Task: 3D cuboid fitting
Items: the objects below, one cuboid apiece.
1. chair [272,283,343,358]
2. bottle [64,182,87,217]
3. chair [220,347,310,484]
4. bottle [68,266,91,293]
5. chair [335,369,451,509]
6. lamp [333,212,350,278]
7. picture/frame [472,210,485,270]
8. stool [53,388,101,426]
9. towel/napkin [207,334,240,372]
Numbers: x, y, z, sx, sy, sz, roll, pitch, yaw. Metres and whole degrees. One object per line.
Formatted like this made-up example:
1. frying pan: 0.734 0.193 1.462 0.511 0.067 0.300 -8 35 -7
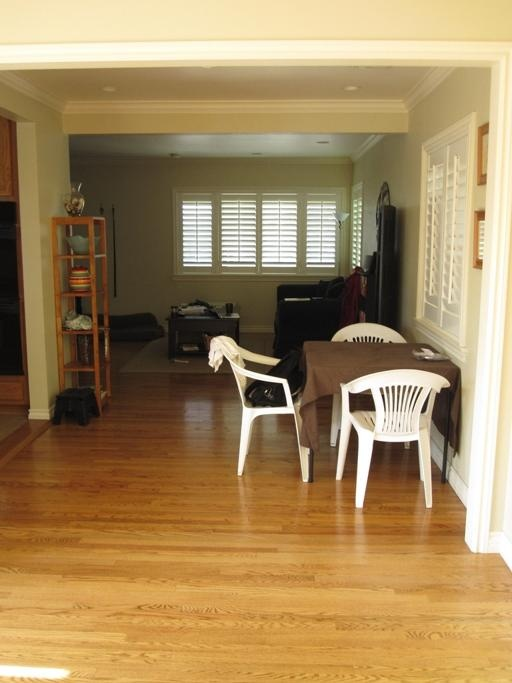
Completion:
1. chair: 0.591 -0.286 6.321 0.743 0.900 0.987 1 16 1
2. bottle: -1.446 -1.114 4.308 0.147 0.291 0.387 -2 8 -19
3. chair: 0.050 0.372 3.470 0.668 0.921 0.705 -1 9 1
4. bottle: -1.364 -0.478 4.201 0.194 0.185 0.193 1 9 2
5. chair: 0.680 0.454 2.780 0.502 0.722 0.499 1 8 6
6. lamp: 1.283 -1.460 8.153 0.200 0.940 0.179 6 10 38
7. picture/frame: 1.117 -0.537 2.755 0.019 0.263 0.231 3 15 24
8. stool: -1.396 0.486 4.225 0.292 0.223 0.291 0 19 0
9. towel/napkin: -0.193 0.060 3.257 0.207 0.213 0.102 7 -9 0
